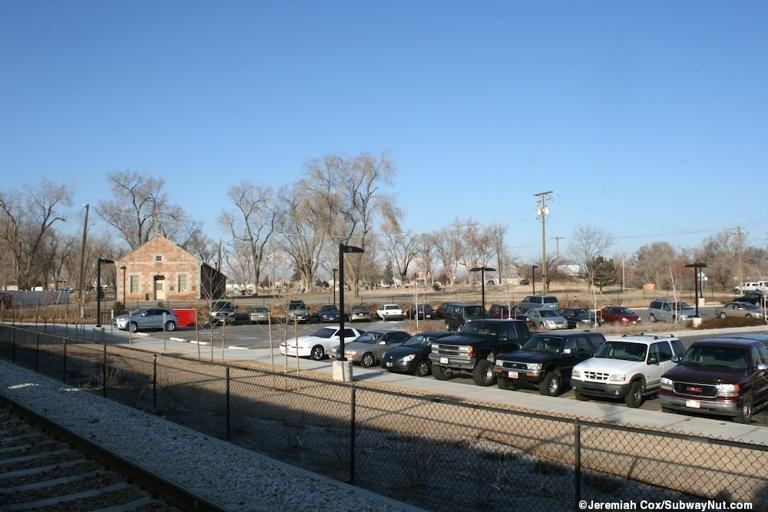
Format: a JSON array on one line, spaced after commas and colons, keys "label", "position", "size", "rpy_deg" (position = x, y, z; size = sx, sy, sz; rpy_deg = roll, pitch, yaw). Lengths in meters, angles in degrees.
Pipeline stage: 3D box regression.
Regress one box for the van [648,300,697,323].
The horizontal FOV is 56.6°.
[{"label": "van", "position": [20.064, 3.880, 49.693], "size": [1.858, 1.385, 3.506], "rpy_deg": [0, -5, -16]}]
